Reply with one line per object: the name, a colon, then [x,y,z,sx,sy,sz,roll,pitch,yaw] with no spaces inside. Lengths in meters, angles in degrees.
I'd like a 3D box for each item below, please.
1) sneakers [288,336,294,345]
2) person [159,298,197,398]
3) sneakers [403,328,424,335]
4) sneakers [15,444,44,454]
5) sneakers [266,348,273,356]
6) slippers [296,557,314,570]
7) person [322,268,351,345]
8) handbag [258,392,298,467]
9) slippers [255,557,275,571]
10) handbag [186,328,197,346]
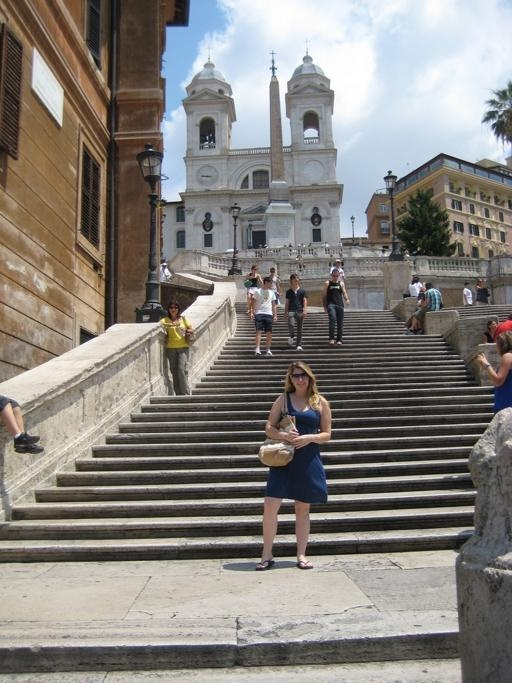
sneakers: [0.692,-0.007,13.494,0.127,0.176,0.117,0,-2,-7]
person: [-1.189,0.125,10.230,0.491,1.365,0.739,1,-4,-8]
sneakers: [3.595,-0.202,15.647,0.441,0.157,0.157,3,-4,1]
sneakers: [-1.878,0.894,5.692,0.252,0.062,0.116,0,-4,11]
sneakers: [0.247,0.229,12.606,0.063,0.116,0.189,0,-24,-4]
slippers: [0.346,1.597,4.922,0.088,0.051,0.193,-1,-14,0]
person: [1.565,-0.642,13.555,0.426,1.452,0.908,0,-4,5]
handbag: [0.155,0.656,4.970,0.244,0.522,0.327,0,-4,1]
slippers: [0.060,1.588,4.888,0.108,0.065,0.196,-1,-4,14]
handbag: [-0.969,-0.067,10.092,0.163,0.176,0.209,4,-16,-7]
